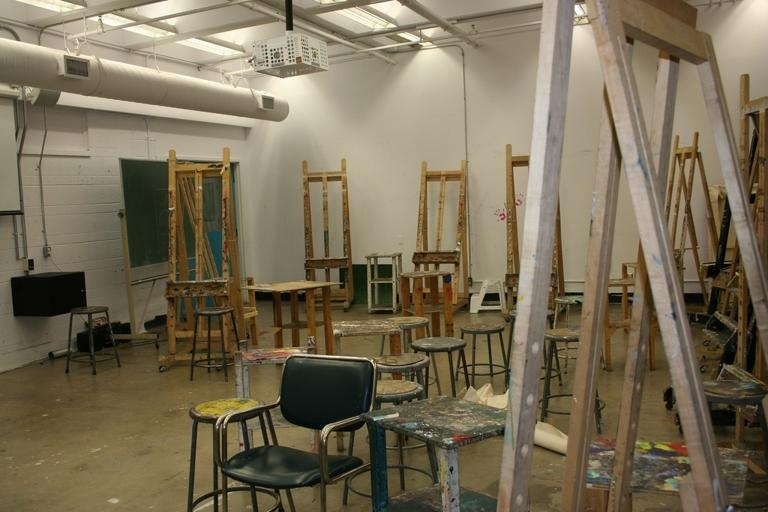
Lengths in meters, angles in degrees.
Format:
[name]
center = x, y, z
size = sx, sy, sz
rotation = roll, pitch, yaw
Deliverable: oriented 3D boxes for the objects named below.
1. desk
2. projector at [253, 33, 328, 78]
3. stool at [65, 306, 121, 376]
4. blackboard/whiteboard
[desk]
center = -1.092, 0.697, 7.265
size = 1.184, 1.163, 1.184
rotation = -1, 1, -2
[projector]
center = -0.943, -1.991, 6.138
size = 0.561, 0.344, 0.548
rotation = -1, -1, 30
[stool]
center = -4.017, 1.177, 7.954
size = 0.596, 0.779, 0.577
rotation = -8, 5, 3
[blackboard/whiteboard]
center = -3.092, -0.624, 8.652
size = 0.088, 1.663, 1.684
rotation = 7, 10, 29
